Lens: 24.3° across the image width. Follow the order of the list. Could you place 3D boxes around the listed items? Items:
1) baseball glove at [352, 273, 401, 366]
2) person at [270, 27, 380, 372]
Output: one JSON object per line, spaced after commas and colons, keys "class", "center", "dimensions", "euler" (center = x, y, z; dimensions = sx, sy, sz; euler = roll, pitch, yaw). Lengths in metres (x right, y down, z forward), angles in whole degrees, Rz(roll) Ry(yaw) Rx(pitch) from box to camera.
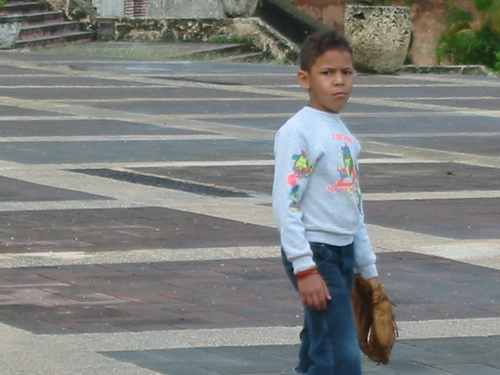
{"class": "baseball glove", "center": [0.783, 0.858, 7.503], "dimensions": [0.169, 0.564, 0.345], "euler": [-11, 14, -42]}
{"class": "person", "center": [0.481, 0.074, 7.347], "dimensions": [0.646, 2.120, 0.591], "euler": [1, 11, 13]}
